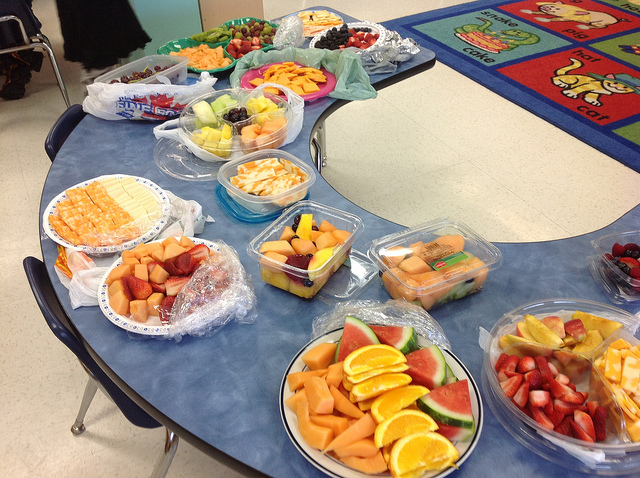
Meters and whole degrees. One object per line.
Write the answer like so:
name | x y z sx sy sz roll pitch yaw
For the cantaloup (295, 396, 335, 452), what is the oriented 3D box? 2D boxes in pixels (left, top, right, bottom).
cantaloup | -0.008 0.479 1.251 0.138 0.073 0.104 4 43 19

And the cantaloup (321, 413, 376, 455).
cantaloup | 0.052 0.551 1.353 0.126 0.302 0.072 5 57 -20

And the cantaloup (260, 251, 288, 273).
cantaloup | -0.146 0.069 1.578 0.085 0.057 0.052 20 54 16

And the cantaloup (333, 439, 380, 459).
cantaloup | 0.097 0.530 1.222 0.090 0.032 0.049 -12 31 5

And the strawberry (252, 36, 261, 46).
strawberry | -0.361 -1.108 2.714 0.049 0.026 0.047 5 73 0

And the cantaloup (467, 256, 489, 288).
cantaloup | 0.506 0.098 1.550 0.057 0.071 0.071 -19 45 -6

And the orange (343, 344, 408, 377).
orange | 0.148 0.330 1.342 0.195 0.045 0.086 -10 54 -22

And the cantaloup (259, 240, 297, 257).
cantaloup | -0.134 0.025 1.577 0.092 0.033 0.051 13 35 -17

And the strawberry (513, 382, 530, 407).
strawberry | 0.553 0.420 1.320 0.039 0.015 0.064 18 91 34

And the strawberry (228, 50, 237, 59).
strawberry | -0.478 -1.008 2.643 0.041 0.028 0.050 -29 78 -24

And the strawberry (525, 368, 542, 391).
strawberry | 0.588 0.384 1.328 0.040 0.028 0.050 -3 89 -18

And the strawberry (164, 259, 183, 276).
strawberry | -0.478 0.088 1.569 0.054 0.055 0.016 44 27 15

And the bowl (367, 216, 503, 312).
bowl | 0.377 0.060 1.602 0.355 0.136 0.277 -25 55 -19

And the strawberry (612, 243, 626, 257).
strawberry | 1.016 0.035 1.642 0.041 0.044 0.040 5 13 -40

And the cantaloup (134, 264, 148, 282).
cantaloup | -0.568 0.106 1.554 0.044 0.029 0.060 3 40 -12

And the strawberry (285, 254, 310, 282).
strawberry | -0.062 0.094 1.603 0.081 0.078 0.086 14 47 12

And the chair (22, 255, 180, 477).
chair | -0.792 0.498 1.771 0.515 0.716 0.440 -23 60 -27

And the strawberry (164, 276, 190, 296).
strawberry | -0.458 0.150 1.550 0.067 0.019 0.052 -33 67 -20

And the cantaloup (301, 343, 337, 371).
cantaloup | 0.004 0.327 1.362 0.055 0.040 0.094 15 36 32

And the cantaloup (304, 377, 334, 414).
cantaloup | 0.000 0.409 1.269 0.060 0.040 0.093 -27 42 -11

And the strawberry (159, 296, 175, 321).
strawberry | -0.482 0.214 1.522 0.016 0.047 0.063 16 67 -10

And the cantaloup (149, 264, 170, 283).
cantaloup | -0.515 0.112 1.547 0.055 0.053 0.050 31 92 11

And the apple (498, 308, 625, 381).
apple | 0.716 0.309 1.427 0.364 0.151 0.193 -7 40 4

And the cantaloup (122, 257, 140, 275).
cantaloup | -0.616 0.081 1.593 0.054 0.052 0.053 -9 18 -39

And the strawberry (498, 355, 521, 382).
strawberry | 0.534 0.360 1.361 0.045 0.018 0.074 29 73 34

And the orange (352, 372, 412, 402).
orange | 0.163 0.384 1.282 0.203 0.059 0.040 -11 22 -18

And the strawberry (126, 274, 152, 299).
strawberry | -0.570 0.152 1.536 0.078 0.031 0.051 41 68 15

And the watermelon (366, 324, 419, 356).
watermelon | 0.193 0.271 1.415 0.145 0.061 0.097 3 44 -18

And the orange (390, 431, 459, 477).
orange | 0.259 0.538 1.213 0.191 0.035 0.087 -11 67 -8

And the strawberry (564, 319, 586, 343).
strawberry | 0.753 0.264 1.435 0.059 0.034 0.058 -34 50 -20

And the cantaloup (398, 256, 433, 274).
cantaloup | 0.300 0.080 1.516 0.066 0.032 0.059 -16 42 -17

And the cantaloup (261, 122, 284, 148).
cantaloup | -0.191 -0.452 2.045 0.097 0.073 0.104 0 49 -9

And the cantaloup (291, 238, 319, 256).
cantaloup | -0.051 0.020 1.586 0.084 0.028 0.062 36 59 26

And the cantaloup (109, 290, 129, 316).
cantaloup | -0.631 0.201 1.525 0.065 0.055 0.031 24 20 38

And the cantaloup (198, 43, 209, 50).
cantaloup | -0.647 -1.063 2.689 0.053 0.032 0.078 -3 51 -2

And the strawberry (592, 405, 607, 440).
strawberry | 0.751 0.480 1.301 0.095 0.060 0.022 -16 81 -55

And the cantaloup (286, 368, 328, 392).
cantaloup | -0.036 0.380 1.327 0.093 0.036 0.054 -33 42 -22

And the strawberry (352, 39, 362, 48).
strawberry | 0.209 -1.075 2.660 0.045 0.041 0.044 -37 40 -16

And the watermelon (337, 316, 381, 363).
watermelon | 0.108 0.278 1.398 0.138 0.098 0.111 -2 39 -2

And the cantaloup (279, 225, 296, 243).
cantaloup | -0.116 -0.016 1.672 0.045 0.069 0.062 -22 16 0

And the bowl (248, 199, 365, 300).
bowl | -0.049 0.033 1.654 0.297 0.137 0.367 25 46 28

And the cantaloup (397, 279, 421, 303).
cantaloup | 0.277 0.151 1.547 0.065 0.057 0.065 35 56 29

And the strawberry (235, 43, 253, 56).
strawberry | -0.410 -1.043 2.661 0.071 0.022 0.068 -32 17 2

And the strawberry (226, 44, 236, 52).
strawberry | -0.488 -1.054 2.662 0.046 0.045 0.024 -2 11 3

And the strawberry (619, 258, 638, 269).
strawberry | 1.025 0.076 1.595 0.057 0.012 0.040 8 51 7
